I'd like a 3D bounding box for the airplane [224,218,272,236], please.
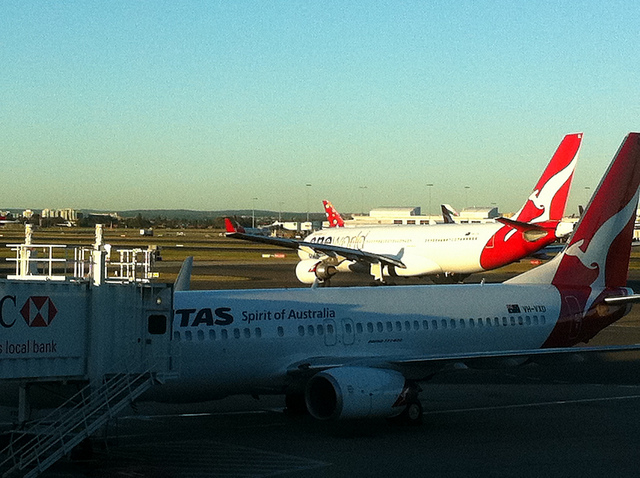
[{"bbox_3d":[-12.139,-2.314,160.966,8.182,2.461,6.592,1,11,-6],"label":"airplane"}]
